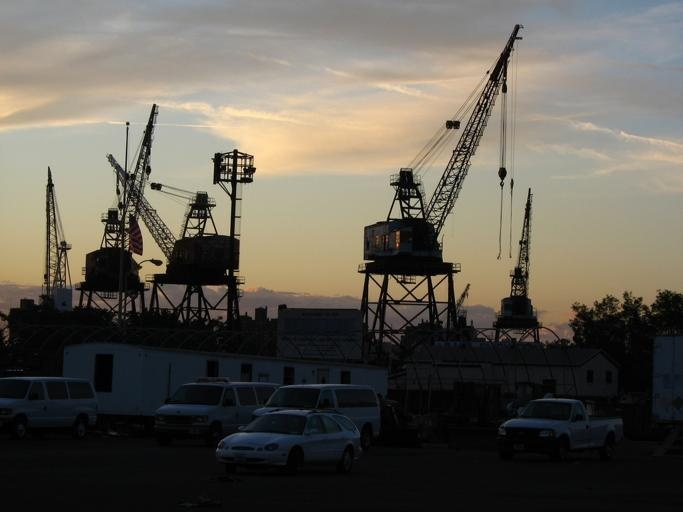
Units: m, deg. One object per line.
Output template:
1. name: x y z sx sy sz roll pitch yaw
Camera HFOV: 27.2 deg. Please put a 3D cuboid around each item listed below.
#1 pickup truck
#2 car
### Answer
1. pickup truck: 7.737 6.126 49.967 4.283 2.105 1.841 4 -5 -35
2. car: -1.594 5.741 43.559 4.439 1.899 1.593 4 -5 -41
